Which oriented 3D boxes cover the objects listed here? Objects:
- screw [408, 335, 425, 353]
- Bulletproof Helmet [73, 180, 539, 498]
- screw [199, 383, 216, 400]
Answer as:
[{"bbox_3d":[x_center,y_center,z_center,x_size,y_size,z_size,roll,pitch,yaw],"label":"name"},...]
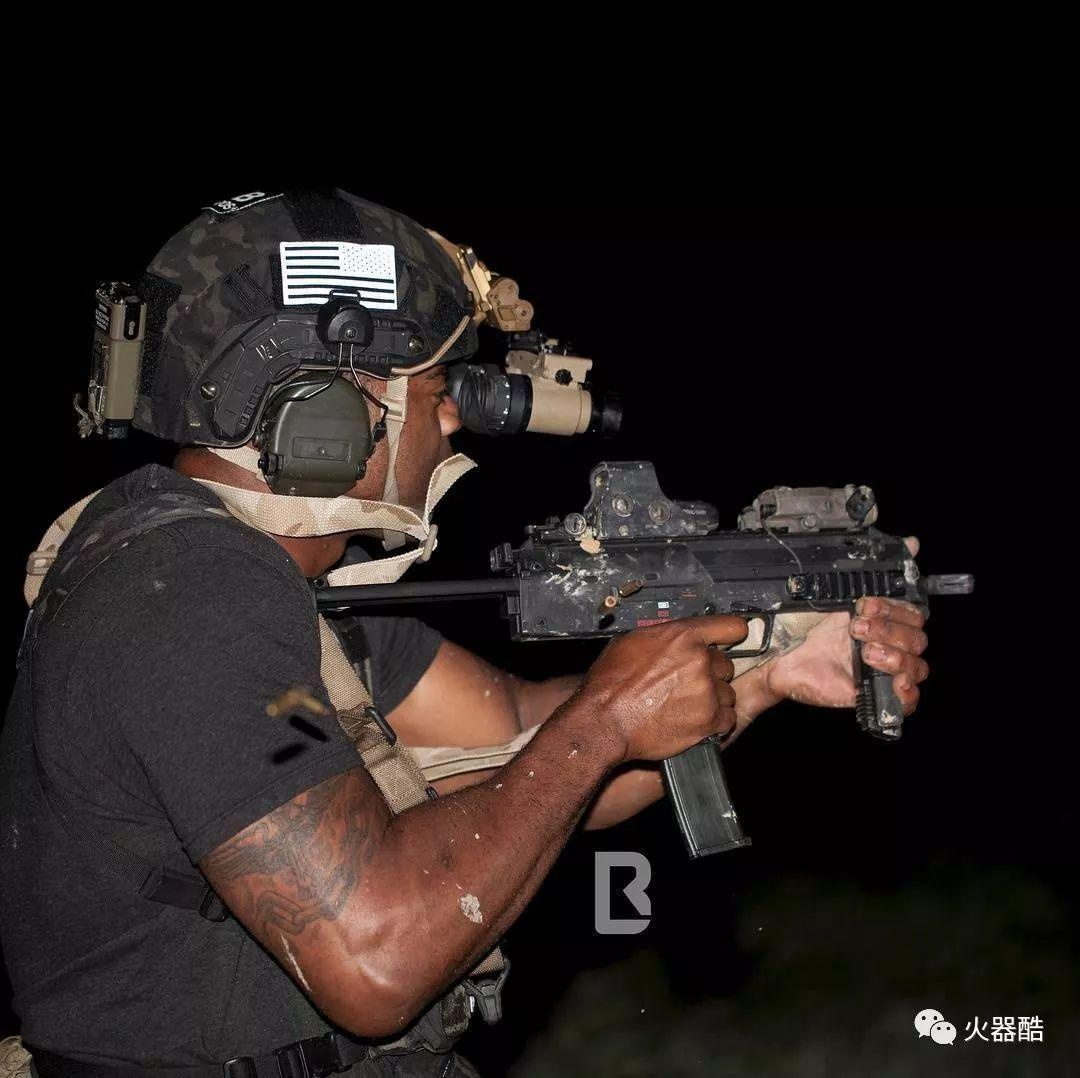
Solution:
[{"bbox_3d":[-0.192,-0.301,1.905,0.028,0.024,0.008,-7,10,-22],"label":"screw"},{"bbox_3d":[-0.376,-0.332,2.039,0.769,0.408,0.547,-5,17,-15],"label":"Bulletproof Helmet"},{"bbox_3d":[-0.490,-0.218,1.819,0.026,0.023,0.015,-4,7,14],"label":"screw"}]
